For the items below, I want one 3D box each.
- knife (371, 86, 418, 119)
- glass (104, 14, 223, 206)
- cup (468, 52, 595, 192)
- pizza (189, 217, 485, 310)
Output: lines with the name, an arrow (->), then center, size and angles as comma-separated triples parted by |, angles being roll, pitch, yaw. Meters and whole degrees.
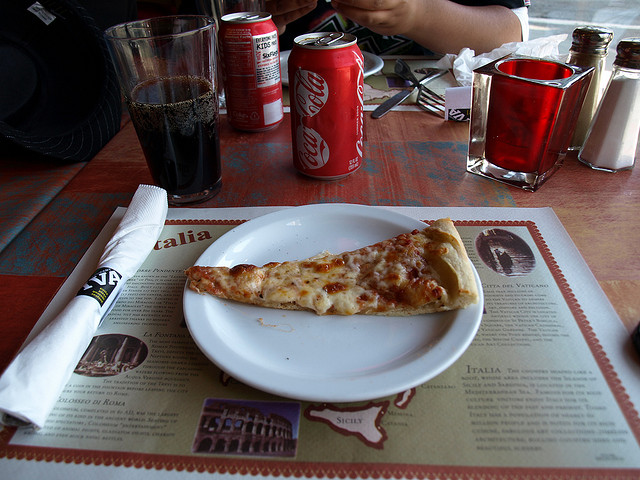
knife -> 0.219, -0.393, 1.295 | 0.041, 0.021, 0.303 | 31, 39, 15
glass -> -0.301, -0.256, 0.954 | 0.215, 0.325, 0.211 | -13, 32, -15
cup -> 0.444, -0.260, 1.021 | 0.238, 0.230, 0.235 | -4, 38, 3
pizza -> 0.048, 0.059, 0.764 | 0.485, 0.067, 0.176 | -2, 44, -2
